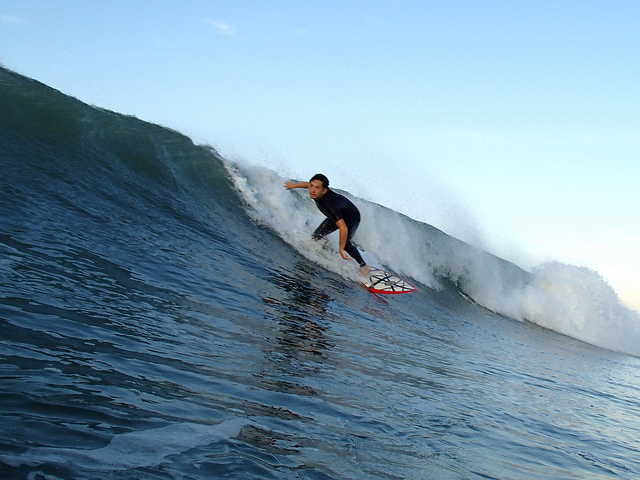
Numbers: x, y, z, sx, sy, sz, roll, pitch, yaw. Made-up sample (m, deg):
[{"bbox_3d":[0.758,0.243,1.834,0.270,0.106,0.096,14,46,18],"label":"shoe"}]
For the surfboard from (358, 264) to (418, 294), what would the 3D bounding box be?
[{"bbox_3d":[1.221,0.804,10.737,1.648,0.352,0.232,17,-17,-37],"label":"surfboard"}]
